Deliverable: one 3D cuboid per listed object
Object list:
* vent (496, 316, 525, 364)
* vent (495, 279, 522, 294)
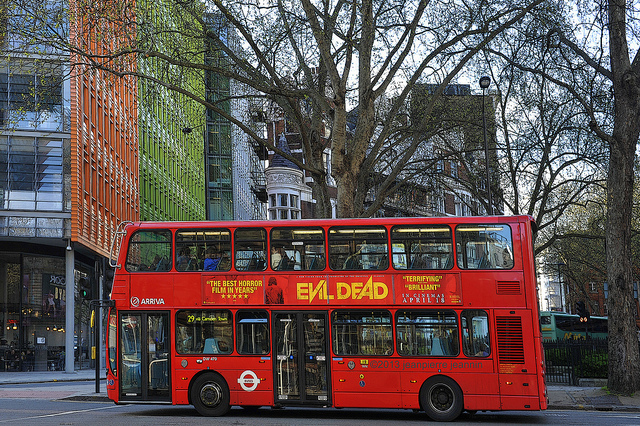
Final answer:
[{"bbox_3d":[6.837,4.515,33.132,0.858,1.610,0.192,-3,-11,3],"label":"vent"},{"bbox_3d":[6.811,2.636,33.296,0.890,0.510,0.055,-3,-11,1],"label":"vent"}]
